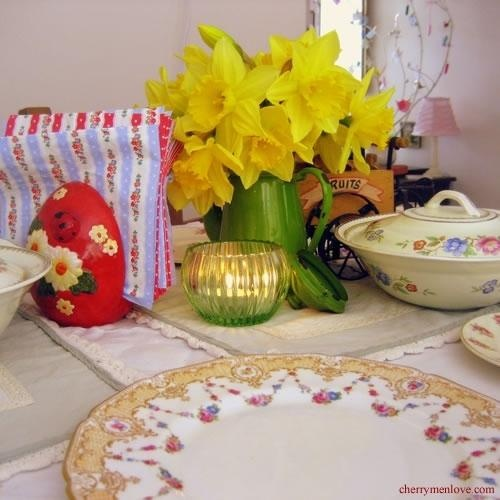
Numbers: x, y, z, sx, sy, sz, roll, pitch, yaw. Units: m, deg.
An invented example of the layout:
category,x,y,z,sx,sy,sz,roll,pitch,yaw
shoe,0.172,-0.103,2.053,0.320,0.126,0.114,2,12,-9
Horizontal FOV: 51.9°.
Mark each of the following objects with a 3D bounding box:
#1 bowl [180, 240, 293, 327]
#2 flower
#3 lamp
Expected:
category,x,y,z,sx,sy,sz,roll,pitch,yaw
bowl,-0.010,0.043,0.649,0.157,0.077,0.136,-1,-6,20
flower,0.019,-0.163,0.745,0.351,0.171,0.298,-5,12,-27
lamp,1.351,-0.829,3.697,0.313,0.588,0.500,0,12,19
